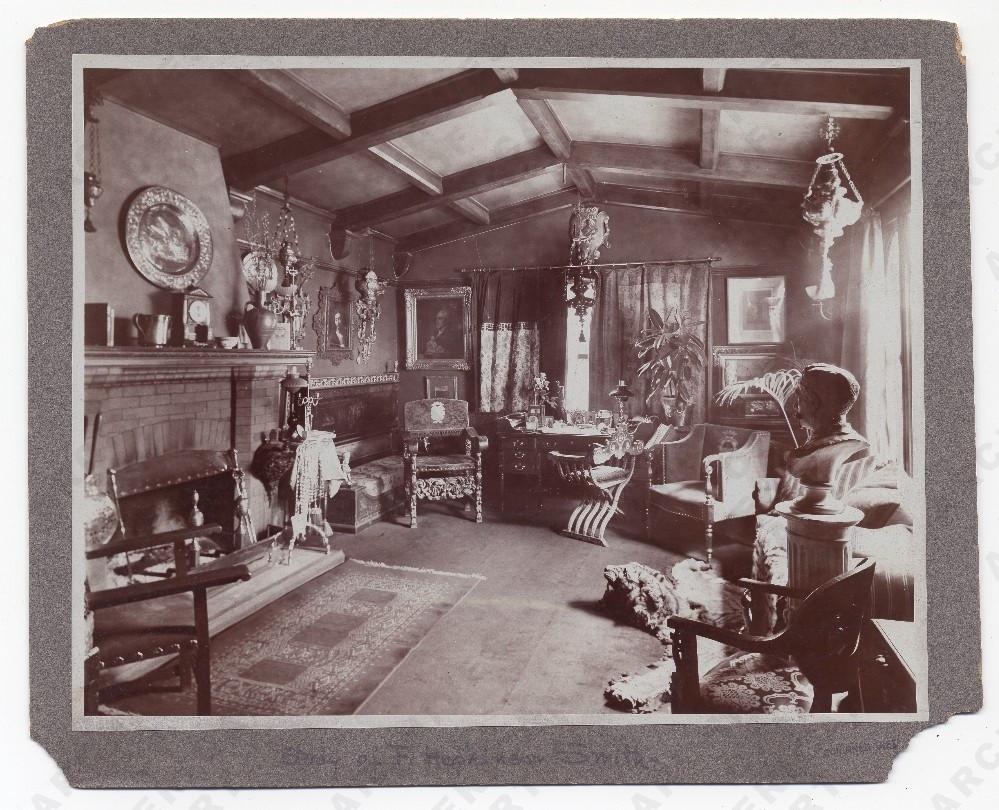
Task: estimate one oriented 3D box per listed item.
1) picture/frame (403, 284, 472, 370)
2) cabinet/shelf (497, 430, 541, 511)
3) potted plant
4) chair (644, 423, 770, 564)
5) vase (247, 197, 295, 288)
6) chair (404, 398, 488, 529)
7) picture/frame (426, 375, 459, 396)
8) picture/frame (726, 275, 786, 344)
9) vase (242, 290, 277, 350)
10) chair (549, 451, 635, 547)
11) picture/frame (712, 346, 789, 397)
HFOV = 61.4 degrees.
[{"bbox_3d":[-0.575,-0.783,7.993,0.794,0.870,0.094,1,3,16],"label":"picture/frame"},{"bbox_3d":[0.151,0.533,7.106,0.396,0.628,0.186,3,11,11],"label":"cabinet/shelf"},{"bbox_3d":[1.387,-0.329,6.983,0.572,0.919,0.362,3,12,13],"label":"potted plant"},{"bbox_3d":[1.537,0.562,6.213,0.896,0.781,0.901,-7,14,-32],"label":"chair"},{"bbox_3d":[-1.624,-1.165,6.032,0.360,0.639,0.884,-2,12,-13],"label":"vase"},{"bbox_3d":[-0.505,0.466,7.118,0.837,0.951,0.824,5,8,39],"label":"chair"},{"bbox_3d":[-0.540,-0.192,8.044,0.197,0.199,0.022,1,1,8],"label":"picture/frame"},{"bbox_3d":[2.094,-0.806,6.834,0.561,0.657,0.030,1,4,11],"label":"picture/frame"},{"bbox_3d":[-1.561,-0.553,5.460,0.185,0.364,0.229,0,11,-2],"label":"vase"},{"bbox_3d":[0.700,0.729,6.606,0.686,0.741,0.614,-4,-12,40],"label":"chair"},{"bbox_3d":[2.033,-0.275,6.757,0.412,0.414,0.029,-1,-9,6],"label":"picture/frame"}]
